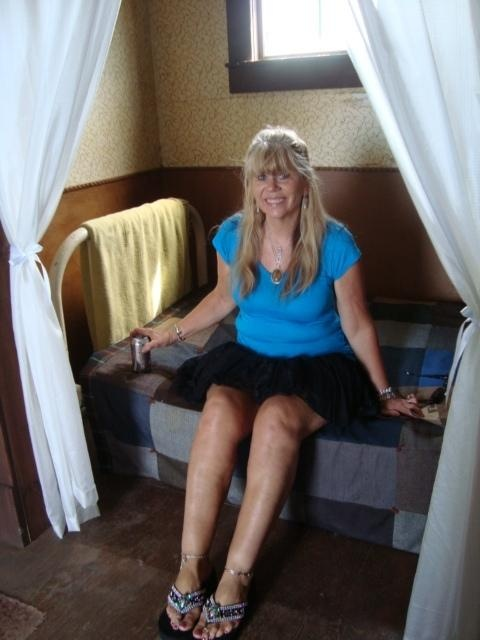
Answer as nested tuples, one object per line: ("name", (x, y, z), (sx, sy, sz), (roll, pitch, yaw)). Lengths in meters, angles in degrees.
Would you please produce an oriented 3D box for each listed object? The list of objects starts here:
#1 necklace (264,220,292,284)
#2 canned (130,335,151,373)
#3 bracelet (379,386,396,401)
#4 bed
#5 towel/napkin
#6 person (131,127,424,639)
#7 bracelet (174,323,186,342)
("necklace", (0.104, -0.188, 1.315), (0.051, 0.221, 0.035), (-3, 3, 8))
("canned", (-0.318, 0.107, 1.525), (0.058, 0.118, 0.065), (16, 30, 29))
("bracelet", (0.410, 0.211, 1.318), (0.033, 0.019, 0.044), (3, 20, 45))
("bed", (0.089, 0.299, 1.856), (1.306, 0.951, 1.084), (11, 47, 21))
("towel/napkin", (-0.377, -0.239, 1.968), (0.093, 0.460, 0.644), (12, 29, 31))
("person", (0.023, 0.039, 1.269), (0.736, 1.089, 0.641), (-10, 15, -32))
("bracelet", (-0.189, 0.039, 1.518), (0.033, 0.048, 0.017), (0, -26, -27))
